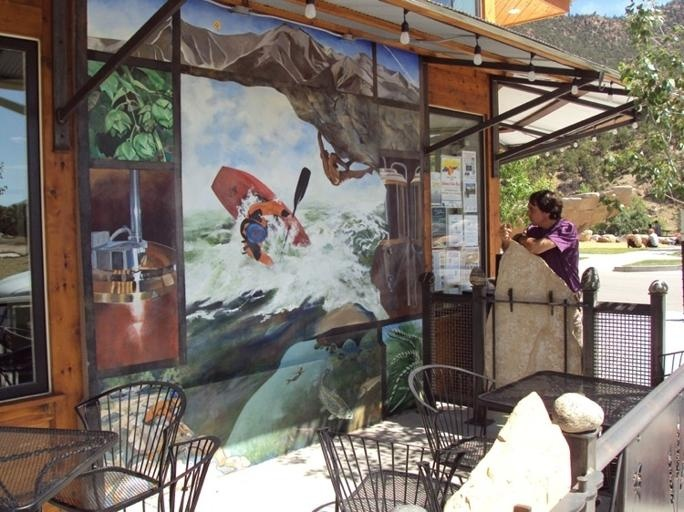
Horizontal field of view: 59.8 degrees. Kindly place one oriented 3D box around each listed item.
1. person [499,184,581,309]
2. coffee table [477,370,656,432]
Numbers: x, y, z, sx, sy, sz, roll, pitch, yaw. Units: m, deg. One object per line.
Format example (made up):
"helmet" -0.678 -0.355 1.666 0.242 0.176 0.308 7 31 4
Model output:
"person" 1.946 -0.125 5.765 0.646 1.021 0.577 -2 3 22
"coffee table" 1.571 1.035 4.159 1.100 0.295 0.853 -7 5 -42
